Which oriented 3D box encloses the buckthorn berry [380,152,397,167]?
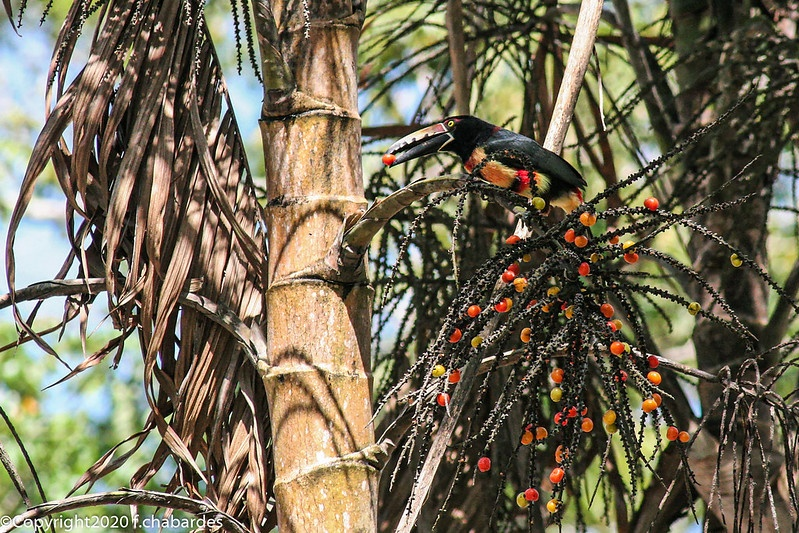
[{"bbox_3d":[-0.060,-0.524,6.760,0.062,0.036,0.065,-24,-20,9],"label":"buckthorn berry"}]
